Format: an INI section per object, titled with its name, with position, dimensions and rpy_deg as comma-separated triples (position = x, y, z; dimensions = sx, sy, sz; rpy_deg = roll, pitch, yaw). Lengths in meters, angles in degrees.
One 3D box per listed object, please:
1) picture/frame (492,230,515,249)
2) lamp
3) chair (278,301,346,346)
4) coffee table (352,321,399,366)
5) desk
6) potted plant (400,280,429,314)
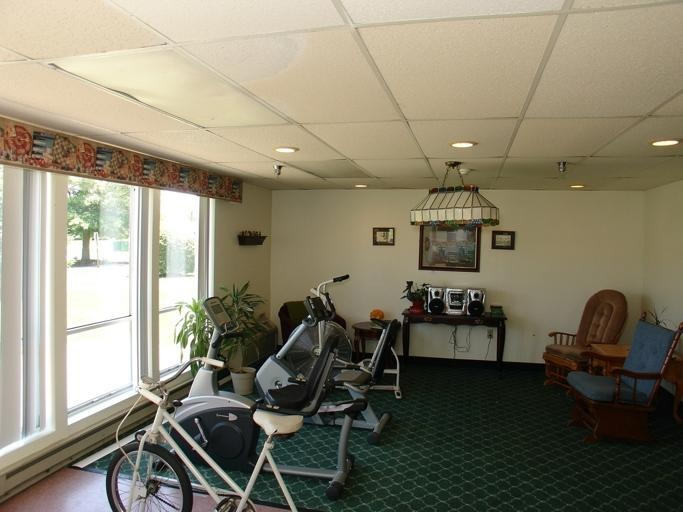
[picture/frame]
position = 2.386, -0.236, 6.912
dimensions = 0.283, 0.253, 0.022
rpy_deg = 3, 5, 8
[lamp]
position = 1.123, -0.641, 4.909
dimensions = 1.180, 0.570, 1.133
rpy_deg = -7, 11, -34
[chair]
position = -0.499, 1.004, 7.302
dimensions = 0.781, 0.890, 0.772
rpy_deg = 4, -24, -34
[coffee table]
position = 0.394, 1.210, 7.060
dimensions = 0.839, 0.757, 0.739
rpy_deg = 0, -2, -2
[desk]
position = 1.616, 1.193, 6.857
dimensions = 1.456, 0.680, 0.473
rpy_deg = 2, -3, 13
[potted plant]
position = 1.110, 0.610, 7.021
dimensions = 0.437, 0.422, 0.427
rpy_deg = -1, -5, 20
